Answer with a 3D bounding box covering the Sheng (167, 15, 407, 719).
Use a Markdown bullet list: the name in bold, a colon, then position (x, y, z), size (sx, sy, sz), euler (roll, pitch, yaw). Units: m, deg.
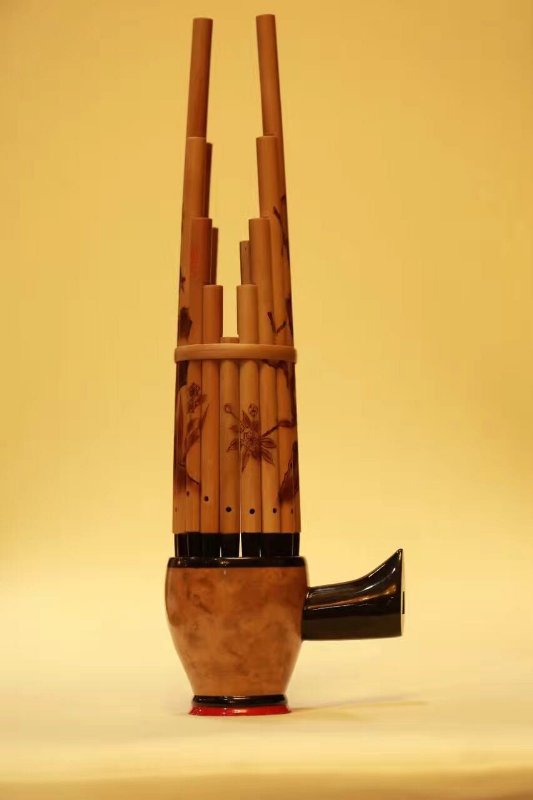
- **Sheng**: position (0.021, 0.033, 0.970), size (0.217, 0.783, 0.195), euler (4, 11, 20)
